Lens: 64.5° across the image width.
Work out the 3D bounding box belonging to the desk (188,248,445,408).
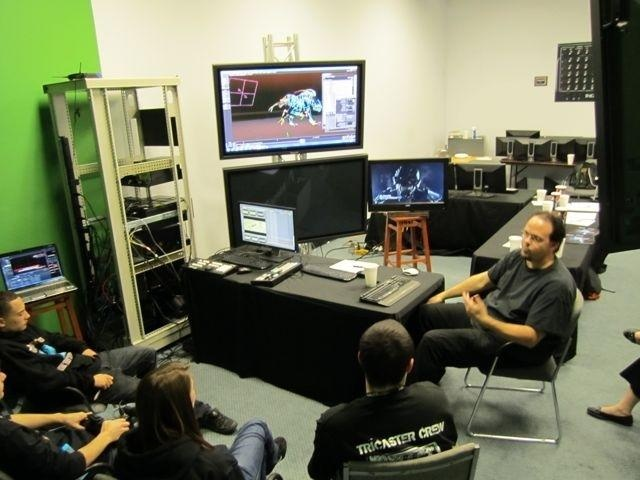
[{"bbox_3d":[-0.151,0.627,3.993,1.661,0.781,0.977,10,18,32],"label":"desk"}]

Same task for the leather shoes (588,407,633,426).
[{"bbox_3d":[1.859,1.146,3.258,0.244,0.071,0.090,10,12,40],"label":"leather shoes"}]

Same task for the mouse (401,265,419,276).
[{"bbox_3d":[0.724,0.249,4.125,0.086,0.026,0.101,-11,16,-22],"label":"mouse"}]

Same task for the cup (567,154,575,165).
[{"bbox_3d":[3.513,-1.135,7.136,0.092,0.140,0.162,3,14,25],"label":"cup"}]

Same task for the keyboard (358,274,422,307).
[{"bbox_3d":[0.467,0.335,3.356,0.185,0.035,0.322,15,27,37],"label":"keyboard"}]

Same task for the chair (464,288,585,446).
[{"bbox_3d":[1.306,0.747,3.359,0.673,0.909,0.704,0,13,15],"label":"chair"}]

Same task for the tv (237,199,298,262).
[{"bbox_3d":[-0.400,-0.067,3.817,0.459,0.323,0.119,10,25,34],"label":"tv"}]

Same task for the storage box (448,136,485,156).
[{"bbox_3d":[2.441,-1.566,8.525,0.572,0.332,0.218,-1,13,10],"label":"storage box"}]

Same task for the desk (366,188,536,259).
[{"bbox_3d":[1.651,-0.220,5.798,1.427,0.630,0.953,7,15,31],"label":"desk"}]

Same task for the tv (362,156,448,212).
[{"bbox_3d":[0.783,-0.497,4.579,0.723,0.476,0.088,-4,13,-5],"label":"tv"}]

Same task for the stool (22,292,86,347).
[{"bbox_3d":[-1.920,0.574,3.643,0.357,0.471,0.335,12,21,43],"label":"stool"}]

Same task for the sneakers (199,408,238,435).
[{"bbox_3d":[-0.670,1.192,3.389,0.293,0.120,0.124,10,23,14],"label":"sneakers"}]
